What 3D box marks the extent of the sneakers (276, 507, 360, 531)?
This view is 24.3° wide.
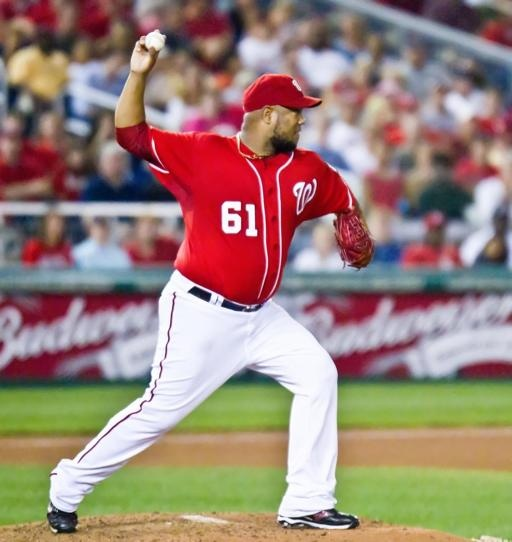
[{"bbox_3d":[0.345,1.349,6.567,0.417,0.144,0.138,-2,-1,5],"label":"sneakers"}]

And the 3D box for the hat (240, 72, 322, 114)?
[{"bbox_3d":[0.137,-0.954,6.498,0.377,0.169,0.213,-6,7,4],"label":"hat"}]

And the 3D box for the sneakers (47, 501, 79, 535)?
[{"bbox_3d":[-1.065,1.367,6.584,0.193,0.116,0.116,1,0,35],"label":"sneakers"}]

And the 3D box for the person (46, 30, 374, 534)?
[{"bbox_3d":[-0.183,0.115,6.502,1.593,2.644,0.970,7,23,-3],"label":"person"}]

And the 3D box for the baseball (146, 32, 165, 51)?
[{"bbox_3d":[-0.533,-1.209,6.277,0.103,0.110,0.172,5,21,-7],"label":"baseball"}]
